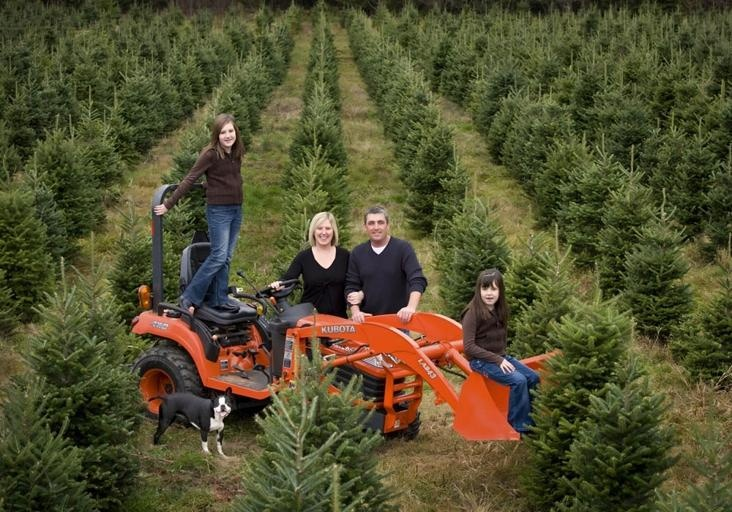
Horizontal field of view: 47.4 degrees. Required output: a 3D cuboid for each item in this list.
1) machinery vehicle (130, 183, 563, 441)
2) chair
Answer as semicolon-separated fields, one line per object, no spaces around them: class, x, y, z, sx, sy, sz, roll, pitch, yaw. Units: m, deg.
machinery vehicle;-0.647;0.960;13.457;6.802;4.529;2.375;5;4;24
chair;-2.578;0.435;14.106;1.227;1.370;1.009;2;0;5
